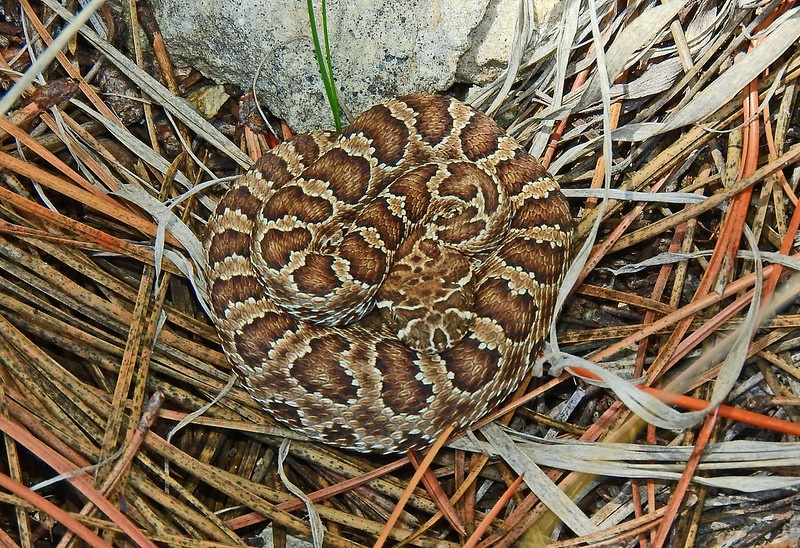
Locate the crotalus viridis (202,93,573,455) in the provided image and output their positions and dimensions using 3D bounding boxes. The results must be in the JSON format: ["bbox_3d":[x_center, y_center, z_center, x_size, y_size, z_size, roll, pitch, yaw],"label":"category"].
[{"bbox_3d":[-0.137,0.092,5.247,2.437,0.691,2.318,-3,69,-7],"label":"crotalus viridis"}]

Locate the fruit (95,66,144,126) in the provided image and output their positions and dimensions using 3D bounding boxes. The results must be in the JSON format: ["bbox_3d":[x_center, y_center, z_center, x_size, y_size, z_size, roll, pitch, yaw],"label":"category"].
[{"bbox_3d":[-1.863,-1.183,5.475,0.260,0.105,0.400,-37,94,-13],"label":"fruit"}]
